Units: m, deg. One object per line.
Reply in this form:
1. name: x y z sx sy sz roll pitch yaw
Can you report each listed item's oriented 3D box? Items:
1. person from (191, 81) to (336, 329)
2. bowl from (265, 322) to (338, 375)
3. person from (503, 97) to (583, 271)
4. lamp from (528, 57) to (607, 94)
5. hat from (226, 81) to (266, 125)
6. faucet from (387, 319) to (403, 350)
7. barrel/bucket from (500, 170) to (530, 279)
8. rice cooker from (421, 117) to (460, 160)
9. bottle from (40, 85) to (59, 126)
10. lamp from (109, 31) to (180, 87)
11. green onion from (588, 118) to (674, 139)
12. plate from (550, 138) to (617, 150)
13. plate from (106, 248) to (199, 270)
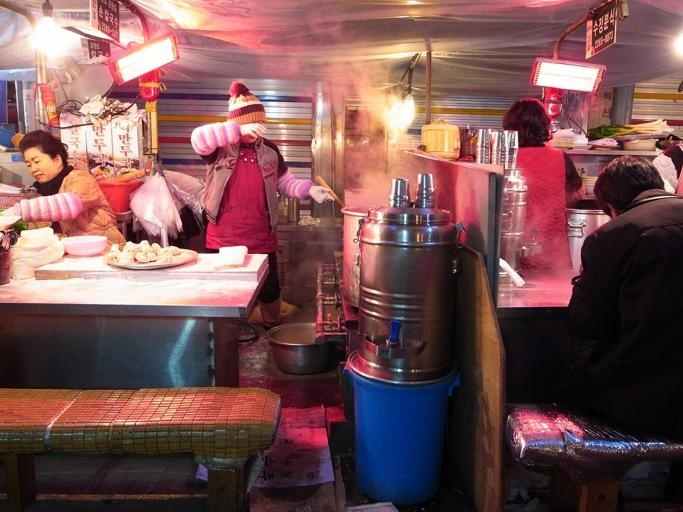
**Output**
1. person: -0.810 -0.565 5.271 1.432 2.565 1.130 -2 9 -14
2. bowl: -0.348 0.862 5.069 0.689 0.442 0.455 -3 14 -18
3. person: 1.612 -0.540 4.238 0.602 1.413 0.615 9 16 8
4. lamp: 2.231 -1.816 5.362 0.734 0.351 0.157 8 37 -3
5. hat: -0.906 -1.450 5.072 0.314 0.401 0.316 -2 14 -12
6. faucet: 0.307 0.444 3.101 0.080 0.164 0.077 2 14 2
7. barrel/bucket: 1.047 -0.194 3.437 0.190 0.701 0.186 3 15 -1
8. rice cooker: 0.760 -0.895 4.098 0.286 0.301 0.292 3 14 9
9. bottle: -3.238 -1.668 5.920 0.172 0.428 0.387 -5 15 -26
10. lamp: -1.920 -1.912 5.180 0.639 0.444 0.113 -2 14 -12
11. green onion: 3.416 -1.513 6.426 0.740 0.231 0.622 2 13 3
12. plate: 2.836 -1.310 6.281 0.344 0.073 0.349 -2 5 -16
13. plate: -1.191 0.018 3.440 0.571 0.088 0.294 -5 14 -27
